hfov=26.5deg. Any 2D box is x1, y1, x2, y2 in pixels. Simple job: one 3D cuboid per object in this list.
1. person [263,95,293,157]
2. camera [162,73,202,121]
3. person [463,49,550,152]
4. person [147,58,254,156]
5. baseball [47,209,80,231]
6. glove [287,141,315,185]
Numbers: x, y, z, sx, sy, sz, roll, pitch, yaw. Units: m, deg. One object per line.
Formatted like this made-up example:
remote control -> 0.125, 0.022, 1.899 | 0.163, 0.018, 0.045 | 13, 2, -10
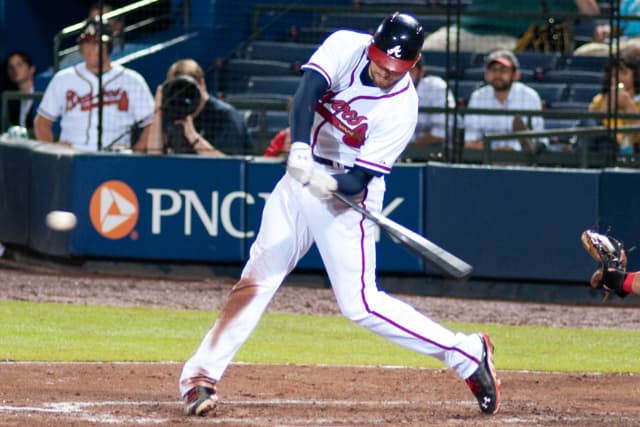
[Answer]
person -> -0.475, -0.888, 15.615 | 0.351, 0.372, 0.835 | 11, -12, 2
camera -> -1.553, -1.305, 15.223 | 0.407, 0.439, 0.430 | 8, 8, -4
person -> 2.154, -1.255, 16.179 | 1.047, 1.372, 0.802 | 4, -5, -10
person -> -1.238, -1.064, 15.412 | 0.965, 1.628, 0.640 | 1, 3, -2
baseball -> -2.881, 0.088, 15.217 | 0.240, 0.122, 0.238 | 4, 12, -24
glove -> -0.167, -0.447, 11.962 | 0.223, 0.355, 0.150 | 3, 12, 8
